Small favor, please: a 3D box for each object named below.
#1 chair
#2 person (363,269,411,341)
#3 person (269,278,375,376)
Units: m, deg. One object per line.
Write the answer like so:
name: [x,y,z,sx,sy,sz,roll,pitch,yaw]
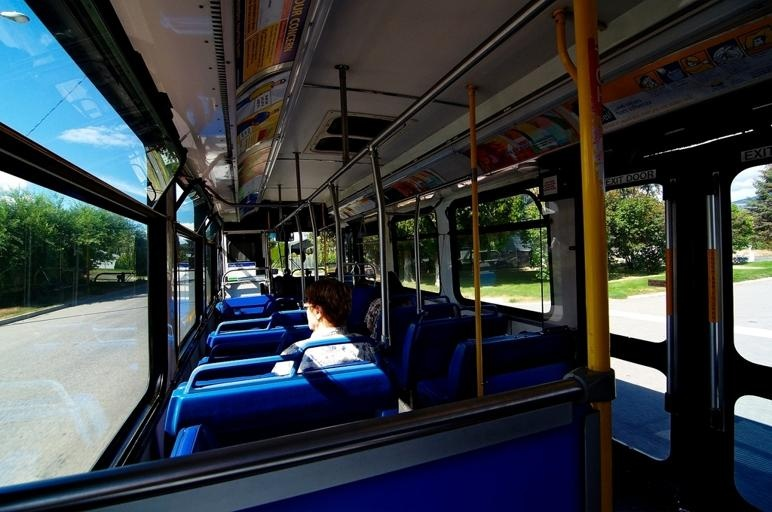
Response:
chair: [-0.191,0.828,3.509,2.715,1.017,1.400,-4,0,-27]
person: [-0.009,0.663,6.425,0.757,0.762,0.709,0,-5,-29]
person: [-0.544,0.627,4.043,0.911,0.846,0.470,-3,11,-24]
